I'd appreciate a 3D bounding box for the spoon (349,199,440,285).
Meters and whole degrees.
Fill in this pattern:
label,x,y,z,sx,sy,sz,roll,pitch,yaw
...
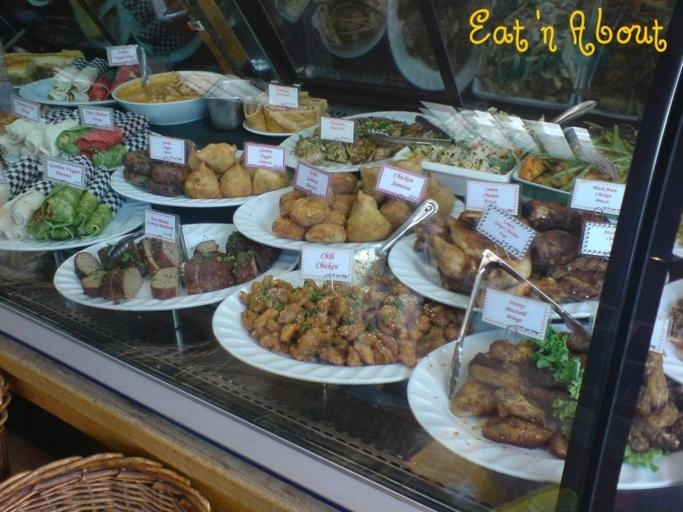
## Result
label,x,y,z,sx,sy,sz,roll,pitch,yaw
spoon,0.135,-0.038,1.442,0.136,0.322,0.034,52,22,17

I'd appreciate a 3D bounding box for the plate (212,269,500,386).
label,x,y,z,sx,sy,sz,roll,pitch,yaw
plate,-0.022,0.230,1.779,0.868,0.312,0.730,-12,16,-24

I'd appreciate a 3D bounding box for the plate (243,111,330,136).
label,x,y,z,sx,sy,sz,roll,pitch,yaw
plate,-0.165,-0.425,1.604,0.136,0.055,0.158,-5,28,50

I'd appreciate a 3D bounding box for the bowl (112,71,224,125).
label,x,y,z,sx,sy,sz,roll,pitch,yaw
bowl,-0.581,-0.584,1.859,0.335,0.180,0.304,18,32,40

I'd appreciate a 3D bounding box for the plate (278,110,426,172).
label,x,y,z,sx,sy,sz,roll,pitch,yaw
plate,0.095,-0.376,1.580,0.449,0.150,0.360,-17,22,-38

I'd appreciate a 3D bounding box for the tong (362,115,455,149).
label,x,y,z,sx,sy,sz,roll,pitch,yaw
tong,0.178,-0.323,1.382,0.279,0.071,0.017,25,53,28

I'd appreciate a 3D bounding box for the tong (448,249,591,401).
label,x,y,z,sx,sy,sz,roll,pitch,yaw
tong,0.479,0.183,1.396,0.364,0.354,0.095,22,10,34
